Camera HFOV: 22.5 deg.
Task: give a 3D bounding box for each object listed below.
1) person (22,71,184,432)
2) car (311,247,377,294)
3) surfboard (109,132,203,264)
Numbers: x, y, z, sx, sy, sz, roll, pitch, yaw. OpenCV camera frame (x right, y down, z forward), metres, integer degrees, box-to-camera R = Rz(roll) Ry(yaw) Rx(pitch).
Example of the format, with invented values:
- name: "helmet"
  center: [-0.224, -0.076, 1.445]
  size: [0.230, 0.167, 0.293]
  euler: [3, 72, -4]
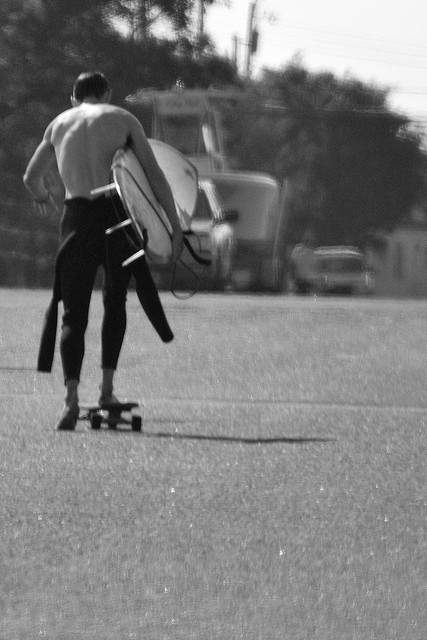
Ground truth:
- name: "person"
  center: [-0.556, -0.242, 4.654]
  size: [0.757, 1.421, 0.456]
  euler: [2, 2, 19]
- name: "car"
  center: [3.023, -1.147, 24.645]
  size: [1.091, 1.076, 2.133]
  euler: [3, 3, 23]
- name: "surfboard"
  center: [-0.350, -0.597, 4.662]
  size: [0.438, 0.533, 0.115]
  euler: [-2, -30, 26]
